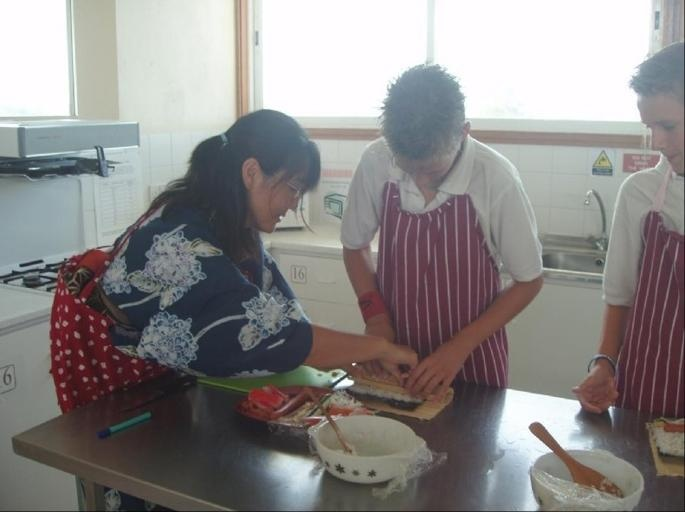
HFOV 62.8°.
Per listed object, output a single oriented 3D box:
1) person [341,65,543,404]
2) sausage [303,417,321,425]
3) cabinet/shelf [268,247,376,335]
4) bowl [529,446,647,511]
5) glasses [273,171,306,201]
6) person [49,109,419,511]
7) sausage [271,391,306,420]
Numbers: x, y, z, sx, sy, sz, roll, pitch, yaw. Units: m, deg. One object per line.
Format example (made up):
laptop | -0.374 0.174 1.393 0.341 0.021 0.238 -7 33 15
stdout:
person | 0.290 -0.032 1.744 0.483 1.171 0.479 2 9 9
sausage | -0.074 0.400 1.361 0.016 0.008 0.022 0 2 32
cabinet/shelf | -0.114 0.156 3.364 0.479 0.513 0.472 6 18 24
bowl | 0.488 0.461 1.137 0.195 0.071 0.195 -5 11 1
glasses | -0.138 -0.189 1.498 0.018 0.064 0.060 -37 -13 10
person | -0.330 0.336 1.706 0.745 1.413 0.713 19 21 38
sausage | -0.139 0.380 1.417 0.110 0.026 0.030 -29 -19 -51
